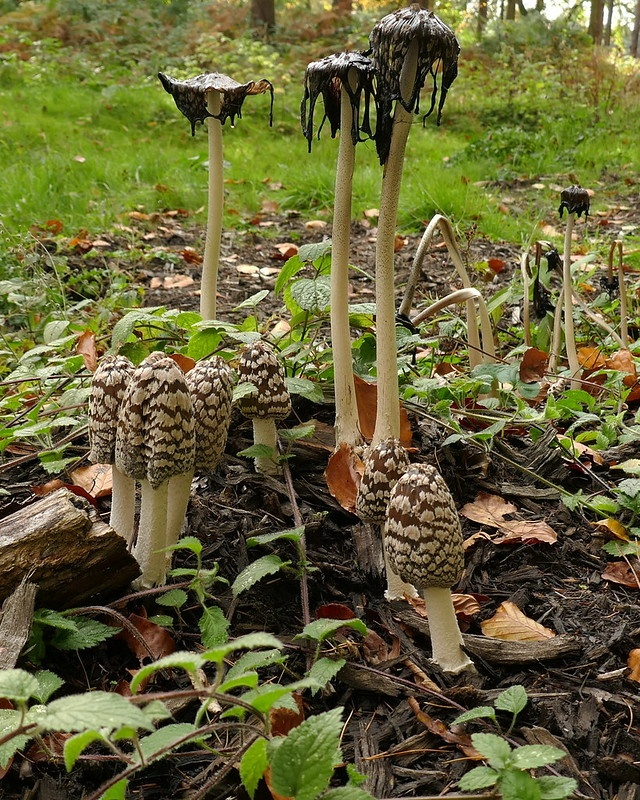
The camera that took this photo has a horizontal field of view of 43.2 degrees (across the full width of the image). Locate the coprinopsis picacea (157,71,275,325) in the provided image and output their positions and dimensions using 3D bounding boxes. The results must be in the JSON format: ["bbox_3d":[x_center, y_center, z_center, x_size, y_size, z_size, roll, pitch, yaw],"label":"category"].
[{"bbox_3d":[-0.393,-0.766,3.109,0.404,0.938,0.439,0,15,-5],"label":"coprinopsis picacea"}]

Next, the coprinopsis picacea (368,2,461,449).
[{"bbox_3d":[0.226,-0.444,2.322,0.244,1.236,0.266,9,17,24],"label":"coprinopsis picacea"}]

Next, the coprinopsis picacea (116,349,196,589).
[{"bbox_3d":[-0.446,0.211,2.179,0.191,0.688,0.271,-6,17,-25],"label":"coprinopsis picacea"}]

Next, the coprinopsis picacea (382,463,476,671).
[{"bbox_3d":[0.291,0.449,2.084,0.251,0.571,0.189,1,15,-1],"label":"coprinopsis picacea"}]
